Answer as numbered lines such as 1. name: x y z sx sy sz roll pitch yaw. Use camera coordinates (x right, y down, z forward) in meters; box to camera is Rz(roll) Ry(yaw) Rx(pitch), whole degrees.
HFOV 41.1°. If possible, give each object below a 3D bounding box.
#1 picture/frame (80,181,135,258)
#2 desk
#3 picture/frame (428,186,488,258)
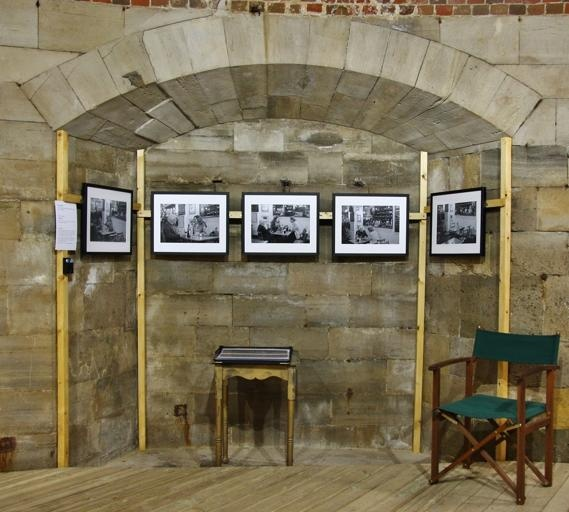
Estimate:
1. picture/frame: -1.556 -0.313 6.541 0.030 0.781 0.629 1 1 31
2. desk: -0.245 1.288 6.560 0.671 1.025 0.834 0 5 0
3. picture/frame: 1.522 -0.294 6.577 0.072 0.748 0.575 2 -2 -38
